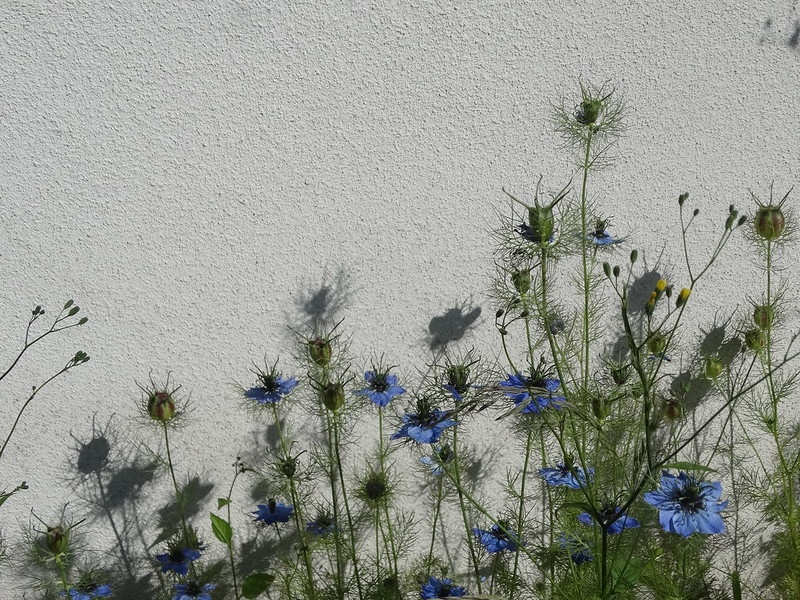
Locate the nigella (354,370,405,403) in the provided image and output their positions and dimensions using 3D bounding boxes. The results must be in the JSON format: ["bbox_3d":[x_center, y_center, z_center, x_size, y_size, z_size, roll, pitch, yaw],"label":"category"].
[{"bbox_3d":[-0.058,0.200,3.056,0.107,0.063,0.129,-12,17,-8],"label":"nigella"}]

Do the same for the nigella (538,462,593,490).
[{"bbox_3d":[0.386,0.412,2.968,0.105,0.053,0.111,5,7,34],"label":"nigella"}]

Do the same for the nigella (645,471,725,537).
[{"bbox_3d":[0.625,0.457,2.830,0.141,0.164,0.072,8,-44,2],"label":"nigella"}]

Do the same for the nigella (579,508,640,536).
[{"bbox_3d":[0.480,0.507,2.948,0.115,0.051,0.125,13,7,-25],"label":"nigella"}]

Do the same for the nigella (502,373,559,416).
[{"bbox_3d":[0.291,0.208,2.718,0.146,0.092,0.136,-8,-13,31],"label":"nigella"}]
